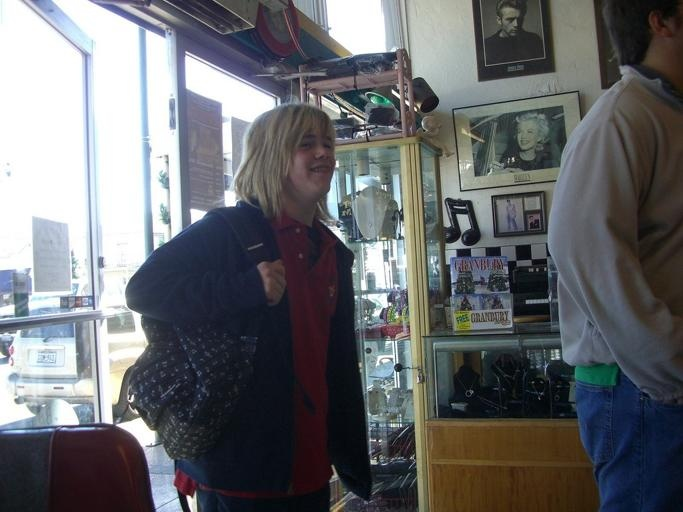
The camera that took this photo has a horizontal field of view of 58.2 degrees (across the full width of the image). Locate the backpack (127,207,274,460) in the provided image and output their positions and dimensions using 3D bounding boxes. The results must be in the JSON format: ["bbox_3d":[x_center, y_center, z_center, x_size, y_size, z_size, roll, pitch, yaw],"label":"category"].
[{"bbox_3d":[-0.589,0.250,1.927,0.437,0.760,0.513,10,-5,-31],"label":"backpack"}]

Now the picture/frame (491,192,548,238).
[{"bbox_3d":[1.163,-0.260,3.947,0.320,0.281,0.025,-1,-6,11],"label":"picture/frame"}]

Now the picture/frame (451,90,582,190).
[{"bbox_3d":[1.088,-0.713,3.739,0.835,0.604,0.017,-2,-1,14],"label":"picture/frame"}]
